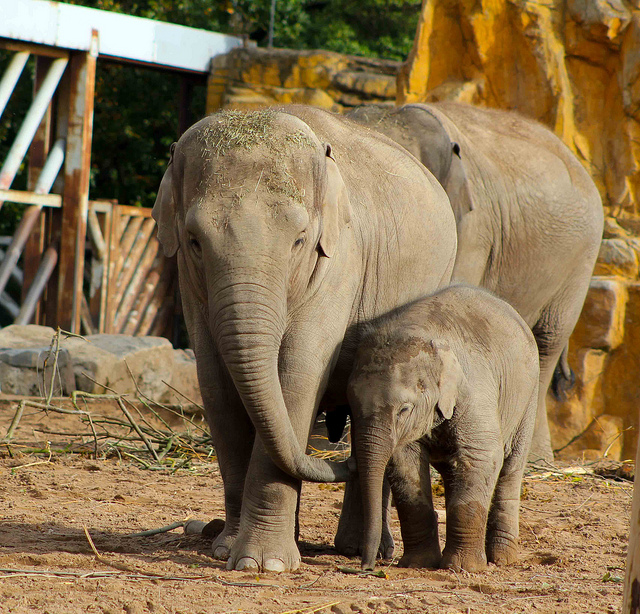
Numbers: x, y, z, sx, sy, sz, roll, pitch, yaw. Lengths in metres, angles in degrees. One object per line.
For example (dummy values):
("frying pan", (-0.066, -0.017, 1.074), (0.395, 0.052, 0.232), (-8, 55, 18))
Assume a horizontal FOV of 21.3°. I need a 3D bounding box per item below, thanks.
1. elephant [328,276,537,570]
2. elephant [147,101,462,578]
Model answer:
("elephant", (0.682, 0.708, 9.210), (0.712, 1.608, 1.647), (4, 6, 33))
("elephant", (-0.346, 0.136, 9.193), (1.060, 2.402, 2.663), (2, -1, 0))
